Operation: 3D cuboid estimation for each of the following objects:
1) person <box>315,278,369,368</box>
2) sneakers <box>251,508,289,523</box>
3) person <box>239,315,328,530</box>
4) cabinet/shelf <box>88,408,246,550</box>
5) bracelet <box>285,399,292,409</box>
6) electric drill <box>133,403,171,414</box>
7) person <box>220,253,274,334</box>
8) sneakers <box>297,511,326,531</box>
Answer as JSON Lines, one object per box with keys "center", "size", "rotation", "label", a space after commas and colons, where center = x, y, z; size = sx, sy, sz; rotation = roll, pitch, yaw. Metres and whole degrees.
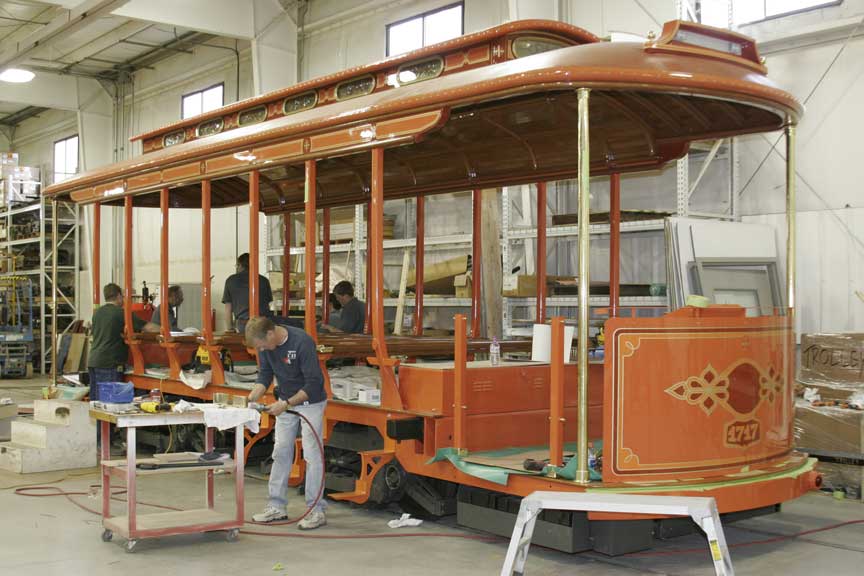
{"center": [-1.245, 0.470, 12.275], "size": [0.632, 1.144, 2.320], "rotation": [0, 5, -7], "label": "person"}
{"center": [-1.687, 2.384, 9.040], "size": [0.378, 0.151, 0.144], "rotation": [4, -5, -19], "label": "sneakers"}
{"center": [-1.502, 1.369, 8.974], "size": [0.810, 2.186, 0.697], "rotation": [1, 5, 6], "label": "person"}
{"center": [-2.854, 2.098, 9.325], "size": [1.471, 1.134, 0.811], "rotation": [1, -4, -31], "label": "cabinet/shelf"}
{"center": [-1.450, 1.165, 8.708], "size": [0.058, 0.078, 0.075], "rotation": [-1, -45, -7], "label": "bracelet"}
{"center": [-2.780, 1.194, 8.638], "size": [0.312, 0.088, 0.280], "rotation": [-1, 5, -16], "label": "electric drill"}
{"center": [-2.584, 0.070, 12.119], "size": [0.617, 1.096, 1.384], "rotation": [-2, 5, -18], "label": "person"}
{"center": [-1.206, 2.396, 8.912], "size": [0.122, 0.138, 0.330], "rotation": [-3, -8, 37], "label": "sneakers"}
